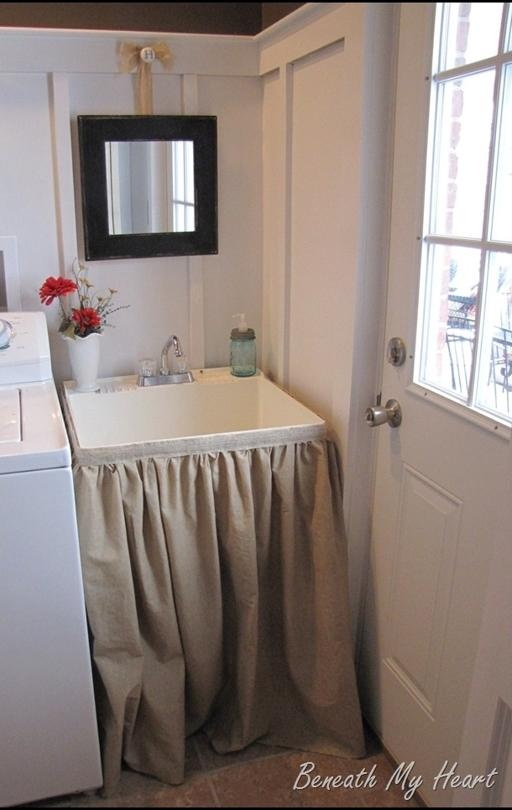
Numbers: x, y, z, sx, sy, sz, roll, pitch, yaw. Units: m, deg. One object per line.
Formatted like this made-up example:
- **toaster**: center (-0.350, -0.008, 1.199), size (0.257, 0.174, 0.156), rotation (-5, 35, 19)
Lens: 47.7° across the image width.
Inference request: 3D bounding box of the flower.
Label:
- **flower**: center (-0.576, -0.297, 1.853), size (0.230, 0.239, 0.155), rotation (9, -3, -44)

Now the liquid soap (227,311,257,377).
- **liquid soap**: center (-0.053, -0.208, 2.019), size (0.093, 0.213, 0.090), rotation (0, 13, 5)

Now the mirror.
- **mirror**: center (-0.365, -0.708, 1.852), size (0.368, 0.442, 0.021), rotation (-12, 30, -18)

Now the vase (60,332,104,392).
- **vase**: center (-0.599, -0.139, 1.856), size (0.108, 0.193, 0.122), rotation (-5, 5, 19)
